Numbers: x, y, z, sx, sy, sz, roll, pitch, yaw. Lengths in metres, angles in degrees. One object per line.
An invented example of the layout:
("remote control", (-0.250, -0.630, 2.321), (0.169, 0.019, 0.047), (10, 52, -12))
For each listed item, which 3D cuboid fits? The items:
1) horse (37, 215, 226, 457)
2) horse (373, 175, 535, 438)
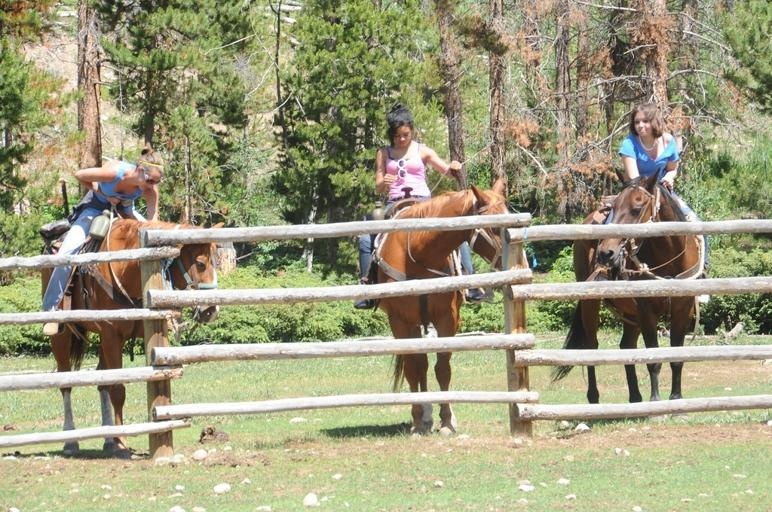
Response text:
("horse", (-5.523, 1.844, 26.119), (5.842, 4.845, 1.504), (-9, -3, 37))
("horse", (0.601, 1.008, 26.598), (1.646, 4.977, 7.030), (-5, 5, -27))
